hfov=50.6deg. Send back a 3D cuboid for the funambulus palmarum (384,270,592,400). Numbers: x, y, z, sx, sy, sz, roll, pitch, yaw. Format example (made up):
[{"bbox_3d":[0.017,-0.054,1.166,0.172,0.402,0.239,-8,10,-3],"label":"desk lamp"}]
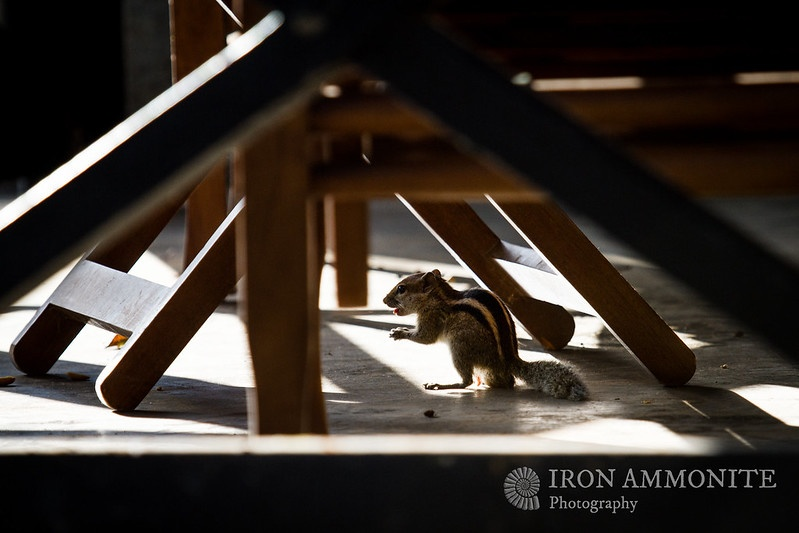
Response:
[{"bbox_3d":[0.243,0.186,2.672,0.804,0.381,0.248,13,14,33],"label":"funambulus palmarum"}]
